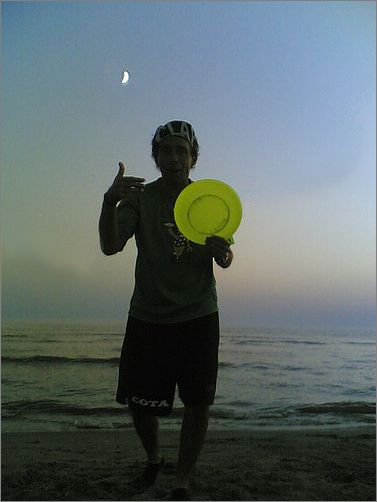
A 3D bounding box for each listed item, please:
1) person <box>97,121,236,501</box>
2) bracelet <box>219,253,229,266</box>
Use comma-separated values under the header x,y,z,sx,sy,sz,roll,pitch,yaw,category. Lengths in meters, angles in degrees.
x,y,z,sx,sy,sz,roll,pitch,yaw,category
-0.135,0.319,3.253,0.729,2.121,0.503,3,4,2,person
0.193,0.048,3.140,0.050,0.073,0.071,3,4,3,bracelet
